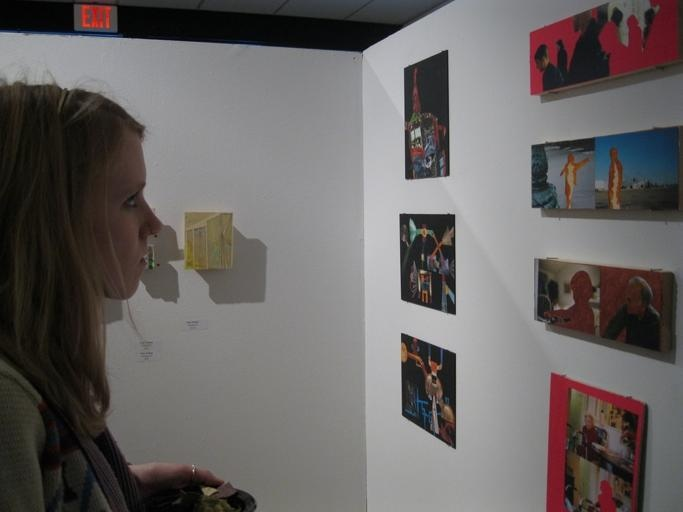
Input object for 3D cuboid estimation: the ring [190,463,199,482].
[{"bbox_3d":[-0.495,0.739,1.843,0.035,0.010,0.038,14,22,-6],"label":"ring"}]
